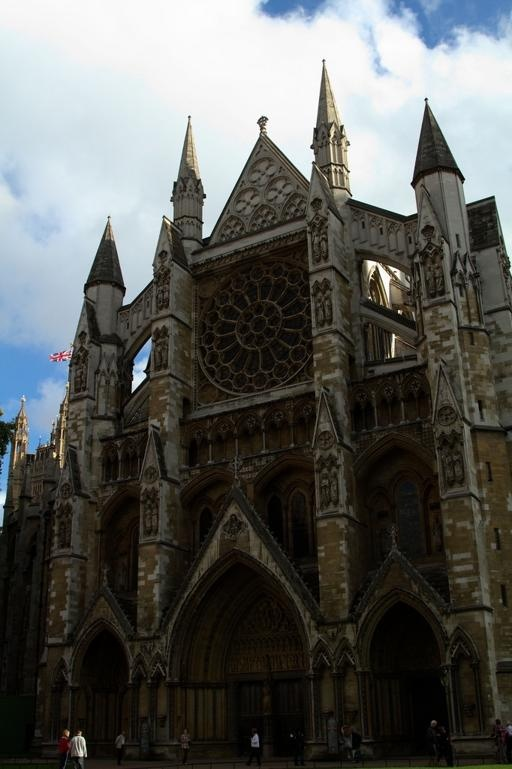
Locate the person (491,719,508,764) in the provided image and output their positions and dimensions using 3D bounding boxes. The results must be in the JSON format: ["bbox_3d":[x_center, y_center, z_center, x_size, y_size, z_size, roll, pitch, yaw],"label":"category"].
[{"bbox_3d":[5.151,7.468,16.127,0.298,0.792,0.577,-8,-24,14],"label":"person"}]
